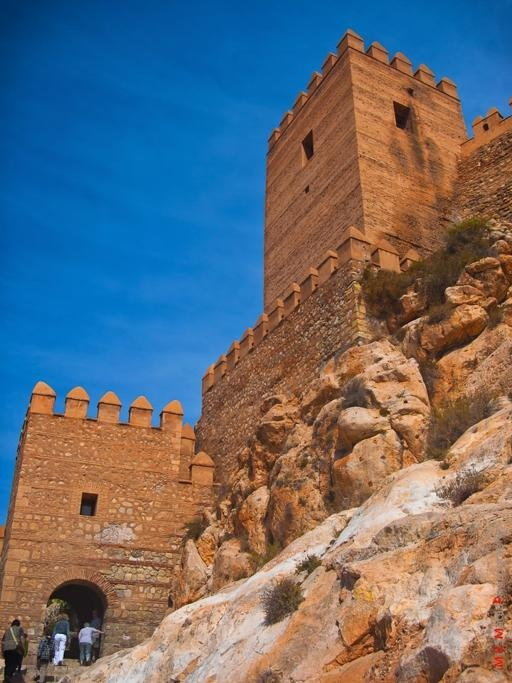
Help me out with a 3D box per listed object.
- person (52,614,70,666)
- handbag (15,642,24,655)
[{"bbox_3d":[-3.388,5.184,18.985,0.269,1.094,1.101,3,-30,-10],"label":"person"},{"bbox_3d":[-3.224,4.187,15.033,0.137,0.224,0.111,2,-5,-19],"label":"handbag"}]
